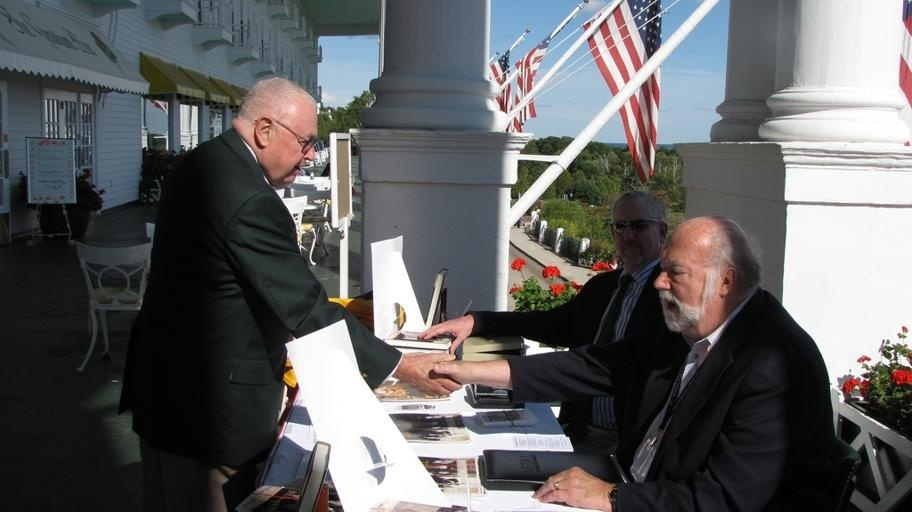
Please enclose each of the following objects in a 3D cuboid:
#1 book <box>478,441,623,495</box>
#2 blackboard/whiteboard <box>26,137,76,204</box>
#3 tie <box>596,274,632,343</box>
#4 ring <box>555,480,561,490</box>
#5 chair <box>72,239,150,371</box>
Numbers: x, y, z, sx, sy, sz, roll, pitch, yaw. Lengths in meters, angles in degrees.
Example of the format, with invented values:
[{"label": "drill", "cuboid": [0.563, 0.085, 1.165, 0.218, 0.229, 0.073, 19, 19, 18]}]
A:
[{"label": "book", "cuboid": [0.579, 1.350, 4.068, 0.650, 0.089, 0.346, 3, 27, -1]}, {"label": "blackboard/whiteboard", "cuboid": [-9.166, -1.931, 14.499, 0.854, 1.856, 1.022, 0, 8, -9]}, {"label": "tie", "cuboid": [1.289, 0.430, 5.163, 0.245, 0.581, 0.223, -1, 0, 8]}, {"label": "ring", "cuboid": [0.621, 1.398, 3.891, 0.035, 0.033, 0.013, -13, -25, 4]}, {"label": "chair", "cuboid": [-4.389, 0.647, 8.033, 1.063, 1.676, 0.752, 1, -2, -18]}]
